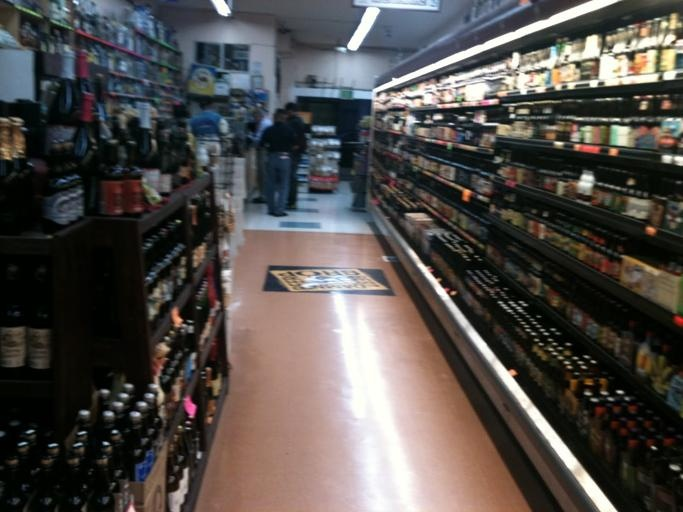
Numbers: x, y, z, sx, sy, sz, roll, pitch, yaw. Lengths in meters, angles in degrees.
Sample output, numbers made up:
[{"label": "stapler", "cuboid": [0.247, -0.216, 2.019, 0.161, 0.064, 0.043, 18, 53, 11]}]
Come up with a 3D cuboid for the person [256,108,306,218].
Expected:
[{"label": "person", "cuboid": [-1.180, -1.796, 9.448, 0.685, 1.932, 1.108, 0, 16, -8]}]
